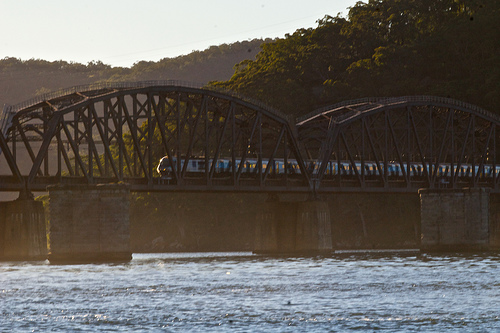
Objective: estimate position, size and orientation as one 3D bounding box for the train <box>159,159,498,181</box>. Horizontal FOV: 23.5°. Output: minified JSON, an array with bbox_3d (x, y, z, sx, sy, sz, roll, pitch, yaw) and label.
[{"bbox_3d":[12.052,0.412,175.980,54.543,3.436,11.491,1,-5,-25],"label":"train"}]
